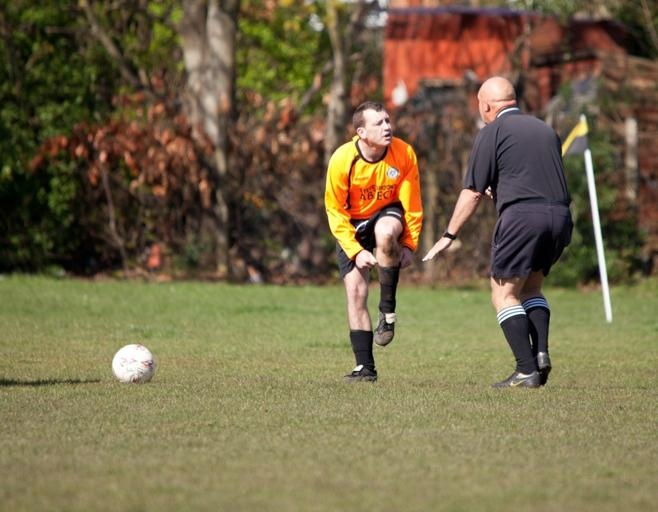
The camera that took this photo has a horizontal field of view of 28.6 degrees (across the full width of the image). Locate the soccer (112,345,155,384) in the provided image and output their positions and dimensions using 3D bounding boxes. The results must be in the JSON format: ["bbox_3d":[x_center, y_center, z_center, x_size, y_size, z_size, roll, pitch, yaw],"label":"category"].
[{"bbox_3d":[-1.675,0.894,11.141,0.287,0.338,0.317,15,-3,-15],"label":"soccer"}]

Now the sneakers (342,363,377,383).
[{"bbox_3d":[0.273,1.022,11.188,0.295,0.168,0.119,1,-3,-4],"label":"sneakers"}]

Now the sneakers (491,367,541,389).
[{"bbox_3d":[1.602,1.042,11.065,0.411,0.193,0.165,-1,-7,7],"label":"sneakers"}]

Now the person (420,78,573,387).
[{"bbox_3d":[1.592,-0.187,11.094,0.970,2.589,0.764,3,12,12],"label":"person"}]

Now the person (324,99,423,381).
[{"bbox_3d":[0.425,-0.132,11.270,0.802,2.367,0.560,-5,12,-24],"label":"person"}]

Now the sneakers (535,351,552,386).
[{"bbox_3d":[1.832,0.977,11.049,0.095,0.305,0.148,-9,41,-2],"label":"sneakers"}]

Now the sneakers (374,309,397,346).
[{"bbox_3d":[0.507,0.631,11.373,0.139,0.333,0.125,11,3,34],"label":"sneakers"}]
